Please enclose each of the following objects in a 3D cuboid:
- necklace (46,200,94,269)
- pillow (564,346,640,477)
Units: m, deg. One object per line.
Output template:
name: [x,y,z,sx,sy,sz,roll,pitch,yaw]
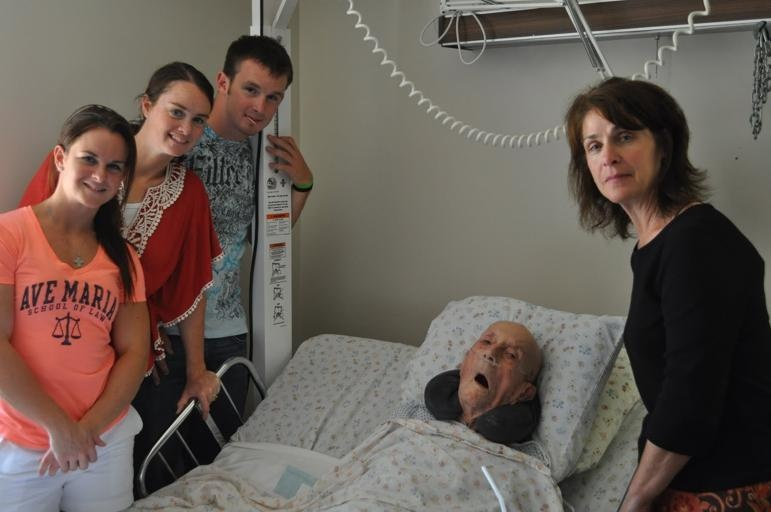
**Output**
necklace: [-1.116,-0.078,2.042,0.093,0.191,0.142,-25,-48,37]
pillow: [0.868,0.622,2.469,0.103,0.424,0.441,26,-17,13]
